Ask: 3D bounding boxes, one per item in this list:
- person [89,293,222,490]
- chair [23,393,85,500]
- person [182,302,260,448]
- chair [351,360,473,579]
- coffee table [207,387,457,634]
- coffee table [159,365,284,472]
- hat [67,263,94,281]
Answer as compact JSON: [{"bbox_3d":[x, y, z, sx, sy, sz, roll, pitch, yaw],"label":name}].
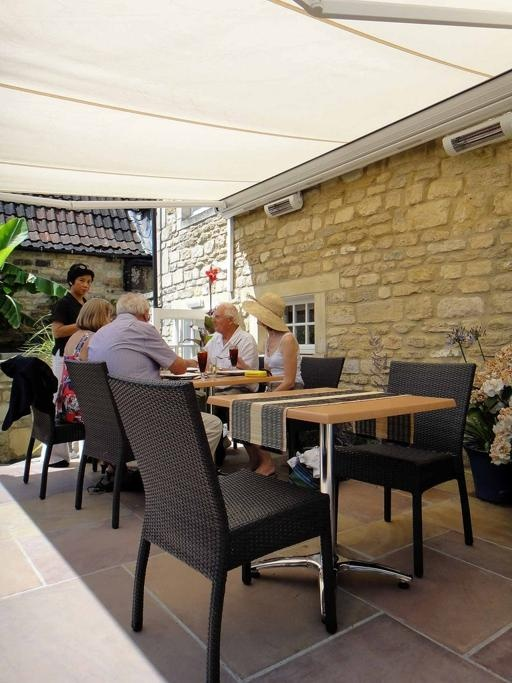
[{"bbox_3d":[-0.680,0.341,3.594,0.868,1.174,0.726,6,-10,-25],"label":"person"},{"bbox_3d":[-1.412,0.678,3.698,0.411,0.564,0.327,-1,2,-44],"label":"chair"},{"bbox_3d":[-0.263,0.221,4.566,0.614,1.074,0.631,2,1,45],"label":"person"},{"bbox_3d":[0.745,0.582,2.690,0.766,0.916,0.722,0,2,3],"label":"chair"},{"bbox_3d":[0.329,0.661,2.319,1.086,0.701,1.054,12,-18,-36],"label":"coffee table"},{"bbox_3d":[-0.188,0.513,3.735,0.834,0.703,0.800,-5,9,-26],"label":"coffee table"},{"bbox_3d":[-1.531,-0.605,4.598,0.167,0.149,0.204,13,-23,-30],"label":"hat"}]
